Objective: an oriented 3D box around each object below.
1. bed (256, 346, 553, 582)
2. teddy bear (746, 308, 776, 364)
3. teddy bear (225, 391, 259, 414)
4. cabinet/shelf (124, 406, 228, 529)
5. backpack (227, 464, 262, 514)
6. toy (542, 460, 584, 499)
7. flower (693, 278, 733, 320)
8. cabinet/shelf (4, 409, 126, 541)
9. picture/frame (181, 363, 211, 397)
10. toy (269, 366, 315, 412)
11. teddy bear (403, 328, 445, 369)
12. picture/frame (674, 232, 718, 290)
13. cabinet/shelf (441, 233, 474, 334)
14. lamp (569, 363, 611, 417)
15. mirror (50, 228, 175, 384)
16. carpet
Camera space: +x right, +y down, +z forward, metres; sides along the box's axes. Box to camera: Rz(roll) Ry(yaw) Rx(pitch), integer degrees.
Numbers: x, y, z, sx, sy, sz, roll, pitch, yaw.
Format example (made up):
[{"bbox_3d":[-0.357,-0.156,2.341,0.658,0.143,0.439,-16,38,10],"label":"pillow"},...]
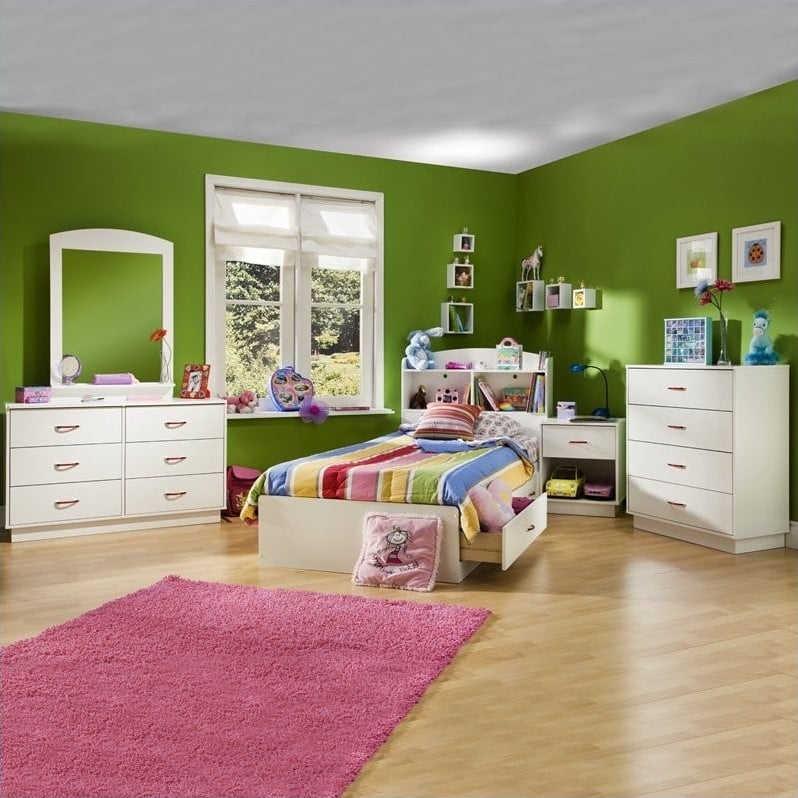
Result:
[{"bbox_3d":[0.304,0.269,4.236,1.307,0.943,1.651,2,5,27],"label":"bed"},{"bbox_3d":[2.083,-0.340,4.134,0.163,0.312,0.284,1,3,23],"label":"teddy bear"},{"bbox_3d":[-1.099,0.018,5.262,0.229,0.154,0.187,-1,3,-11],"label":"teddy bear"},{"bbox_3d":[-1.399,0.420,4.997,0.961,0.815,0.604,0,-2,-28],"label":"cabinet/shelf"},{"bbox_3d":[-1.010,0.593,4.914,0.251,0.284,0.118,12,-29,-33],"label":"backpack"},{"bbox_3d":[1.172,0.557,5.080,0.279,0.208,0.486,0,1,17],"label":"toy"},{"bbox_3d":[1.921,-0.595,4.427,0.205,0.240,0.396,0,3,-8],"label":"flower"},{"bbox_3d":[-1.989,0.398,4.683,1.066,0.908,0.600,0,-1,-30],"label":"cabinet/shelf"},{"bbox_3d":[-1.345,-0.122,4.921,0.258,0.283,0.022,0,-5,-13],"label":"picture/frame"},{"bbox_3d":[-0.762,-0.065,5.345,0.302,0.305,0.078,0,-4,-32],"label":"toy"},{"bbox_3d":[0.201,-0.351,5.705,0.369,0.375,0.299,1,-3,-22],"label":"teddy bear"},{"bbox_3d":[1.914,-0.843,4.615,0.055,0.325,0.310,-1,3,-19],"label":"picture/frame"},{"bbox_3d":[0.539,-0.933,5.987,0.352,0.858,0.167,-1,3,-19],"label":"cabinet/shelf"},{"bbox_3d":[1.467,-0.074,5.444,0.275,0.388,0.499,1,3,13],"label":"lamp"},{"bbox_3d":[-1.855,-0.593,4.818,0.783,0.987,0.071,-2,4,-31],"label":"mirror"},{"bbox_3d":[-0.590,0.881,2.471,1.592,0.039,1.484,0,3,6],"label":"carpet"}]
